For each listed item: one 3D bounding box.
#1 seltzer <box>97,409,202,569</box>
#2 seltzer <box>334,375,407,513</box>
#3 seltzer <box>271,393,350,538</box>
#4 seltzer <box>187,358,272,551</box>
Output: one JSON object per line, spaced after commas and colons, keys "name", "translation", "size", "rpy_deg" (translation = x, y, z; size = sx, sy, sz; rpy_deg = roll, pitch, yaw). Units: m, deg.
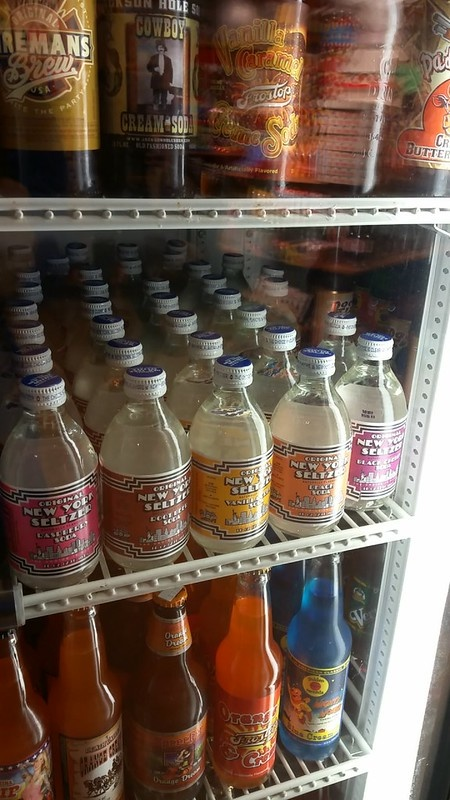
{"name": "seltzer", "translation": [-0.091, 0.102, 0.622], "size": [0.102, 0.196, 0.081], "rpy_deg": [0, 23, -5]}
{"name": "seltzer", "translation": [0.199, 0.058, 0.755], "size": [0.085, 0.243, 0.091], "rpy_deg": [14, 31, 27]}
{"name": "seltzer", "translation": [0.108, 0.083, 0.693], "size": [0.074, 0.230, 0.080], "rpy_deg": [13, 31, 24]}
{"name": "seltzer", "translation": [0.001, 0.071, 0.676], "size": [0.087, 0.238, 0.095], "rpy_deg": [6, 14, 14]}
